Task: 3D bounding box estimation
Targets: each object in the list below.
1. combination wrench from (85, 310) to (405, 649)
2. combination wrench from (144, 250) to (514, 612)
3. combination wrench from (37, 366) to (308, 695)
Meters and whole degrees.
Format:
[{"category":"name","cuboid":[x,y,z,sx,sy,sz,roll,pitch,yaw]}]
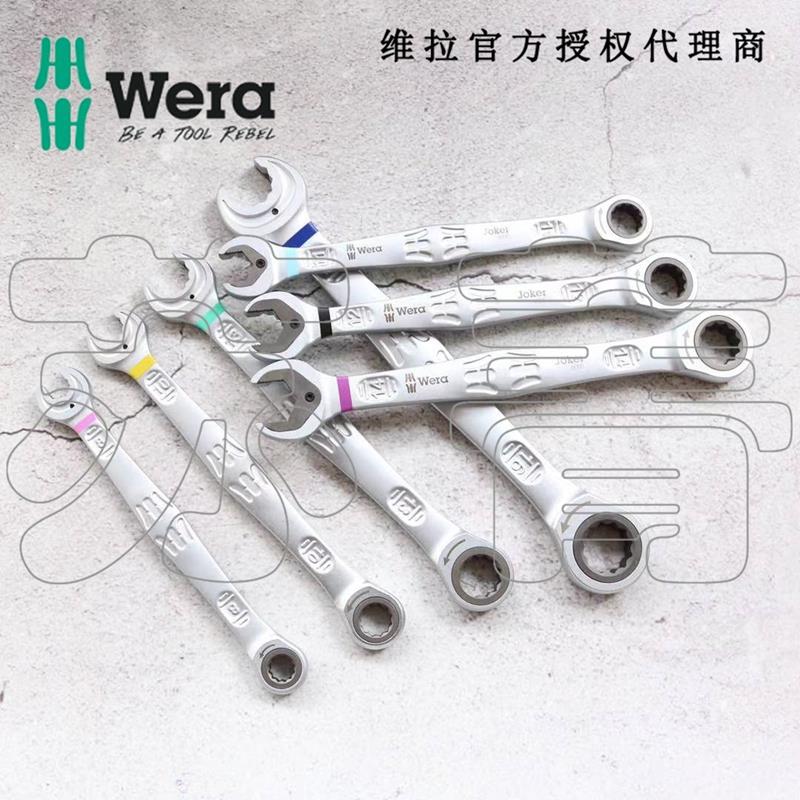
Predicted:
[{"category":"combination wrench","cuboid":[-0.301,0.184,1.847,0.916,0.098,0.147,42,-96,2]},{"category":"combination wrench","cuboid":[-0.135,0.090,1.846,1.062,0.076,0.158,40,-90,-1]},{"category":"combination wrench","cuboid":[-0.447,0.286,1.851,0.838,0.089,0.141,44,-102,5]}]
